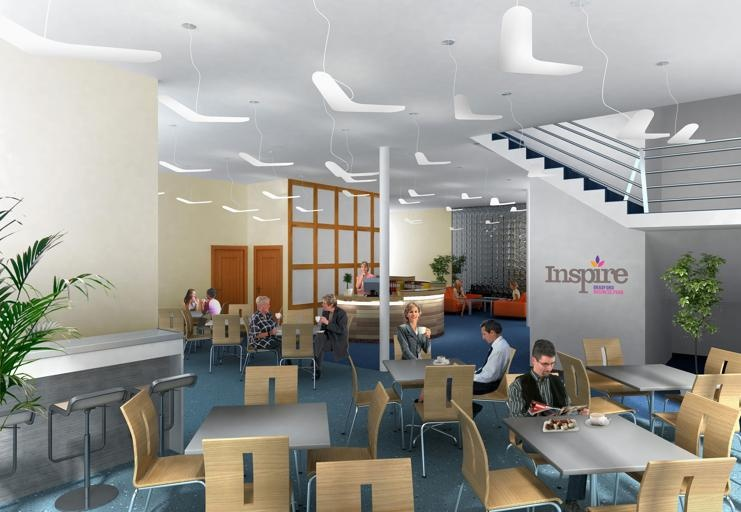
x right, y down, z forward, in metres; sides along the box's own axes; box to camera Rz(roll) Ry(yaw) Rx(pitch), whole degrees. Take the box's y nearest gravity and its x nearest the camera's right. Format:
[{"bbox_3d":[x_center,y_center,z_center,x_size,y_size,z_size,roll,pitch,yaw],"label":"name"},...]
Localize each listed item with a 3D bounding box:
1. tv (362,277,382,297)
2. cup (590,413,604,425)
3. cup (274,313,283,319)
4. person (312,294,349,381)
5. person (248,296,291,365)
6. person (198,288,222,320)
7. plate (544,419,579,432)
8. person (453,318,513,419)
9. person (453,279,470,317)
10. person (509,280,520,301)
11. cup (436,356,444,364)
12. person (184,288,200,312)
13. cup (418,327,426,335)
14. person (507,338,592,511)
[{"bbox_3d":[0.016,0.761,12.073,0.392,0.418,0.284,-1,7,10],"label":"tv"},{"bbox_3d":[2.108,1.502,4.543,0.168,0.106,0.078,-1,0,15],"label":"cup"},{"bbox_3d":[-1.694,1.095,9.032,0.220,0.114,0.306,0,-3,-2],"label":"cup"},{"bbox_3d":[-0.692,1.388,8.537,0.587,1.127,0.513,-1,0,-6],"label":"person"},{"bbox_3d":[-1.852,1.265,8.750,0.601,0.984,0.601,-1,0,0],"label":"person"},{"bbox_3d":[-3.286,0.955,10.078,0.296,0.556,0.732,-1,0,-15],"label":"person"},{"bbox_3d":[1.705,1.514,4.421,0.190,0.026,0.141,-3,2,-8],"label":"plate"},{"bbox_3d":[1.402,1.447,6.242,0.681,1.240,0.549,5,-6,10],"label":"person"},{"bbox_3d":[3.047,1.357,16.351,0.529,0.730,1.218,-1,0,7],"label":"person"},{"bbox_3d":[4.471,1.043,15.099,0.246,0.587,0.846,-1,0,17],"label":"person"},{"bbox_3d":[0.867,1.298,6.165,0.077,0.060,0.075,-3,-1,0],"label":"cup"},{"bbox_3d":[-3.813,0.938,10.476,0.273,0.446,0.711,-1,0,-16],"label":"person"},{"bbox_3d":[0.724,1.052,6.979,0.102,0.076,0.101,-1,3,0],"label":"cup"},{"bbox_3d":[1.751,1.623,4.894,0.740,1.583,0.914,-1,0,21],"label":"person"}]
